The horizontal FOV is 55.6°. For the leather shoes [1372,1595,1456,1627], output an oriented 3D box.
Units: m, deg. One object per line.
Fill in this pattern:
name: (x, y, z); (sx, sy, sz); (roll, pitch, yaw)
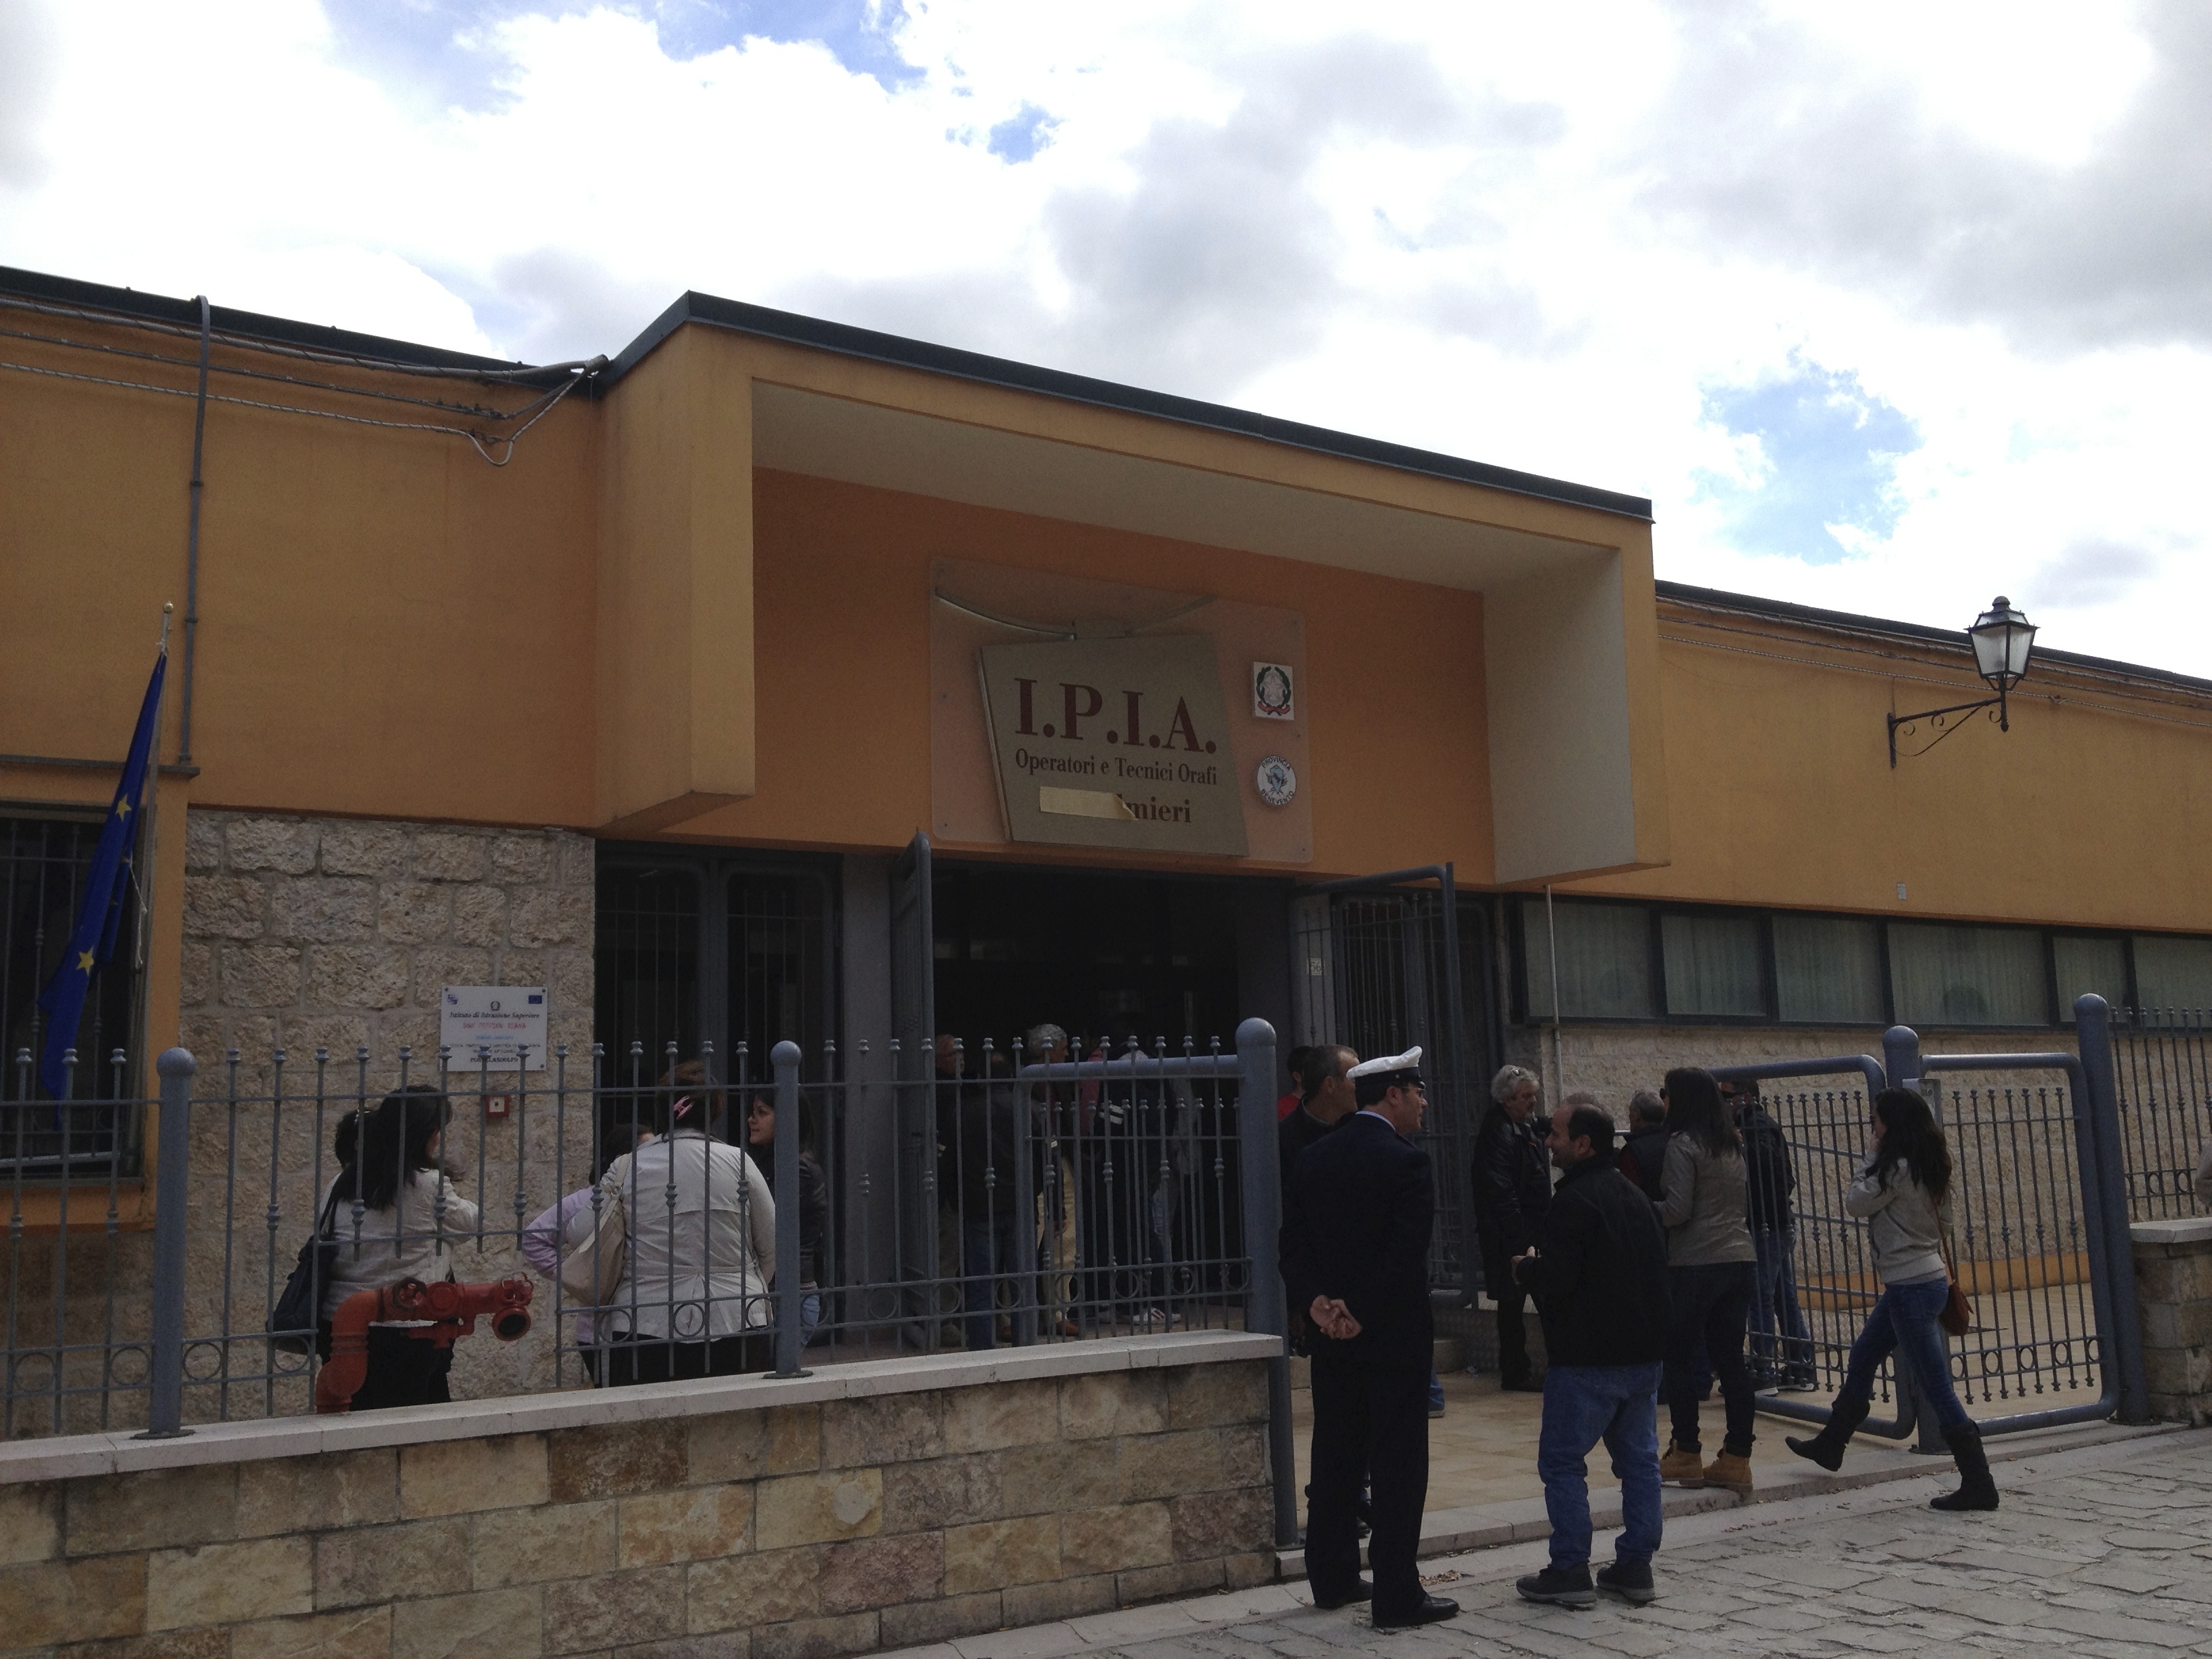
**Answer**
leather shoes: (1.336, 3.299, 8.888); (0.448, 0.123, 0.130); (5, -13, -35)

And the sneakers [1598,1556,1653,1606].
sneakers: (2.260, 3.261, 9.128); (0.239, 0.190, 0.210); (-5, -11, 12)

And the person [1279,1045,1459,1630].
person: (1.127, 2.319, 9.119); (0.630, 2.149, 0.446); (-3, -10, 4)

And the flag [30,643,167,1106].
flag: (-5.079, 0.175, 10.650); (0.508, 2.357, 0.443); (3, -11, -27)

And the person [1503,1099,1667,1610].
person: (2.134, 2.287, 9.293); (0.719, 2.174, 0.399); (-2, -10, -1)

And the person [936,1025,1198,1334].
person: (-0.037, 1.673, 9.796); (1.362, 1.368, 0.930); (-3, -10, 2)

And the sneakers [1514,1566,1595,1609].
sneakers: (1.935, 3.268, 9.102); (0.344, 0.162, 0.141); (-1, -7, 40)

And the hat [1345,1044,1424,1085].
hat: (1.373, 1.181, 10.378); (0.399, 0.156, 0.354); (-5, -2, 22)

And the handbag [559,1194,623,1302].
handbag: (-2.182, 1.802, 8.925); (0.248, 0.378, 0.122); (-2, -5, 30)

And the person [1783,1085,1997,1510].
person: (4.044, 2.350, 10.703); (0.699, 2.092, 0.851); (1, -11, -19)

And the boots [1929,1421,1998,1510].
boots: (4.197, 3.121, 10.311); (0.306, 0.415, 0.283); (-7, -11, 23)
